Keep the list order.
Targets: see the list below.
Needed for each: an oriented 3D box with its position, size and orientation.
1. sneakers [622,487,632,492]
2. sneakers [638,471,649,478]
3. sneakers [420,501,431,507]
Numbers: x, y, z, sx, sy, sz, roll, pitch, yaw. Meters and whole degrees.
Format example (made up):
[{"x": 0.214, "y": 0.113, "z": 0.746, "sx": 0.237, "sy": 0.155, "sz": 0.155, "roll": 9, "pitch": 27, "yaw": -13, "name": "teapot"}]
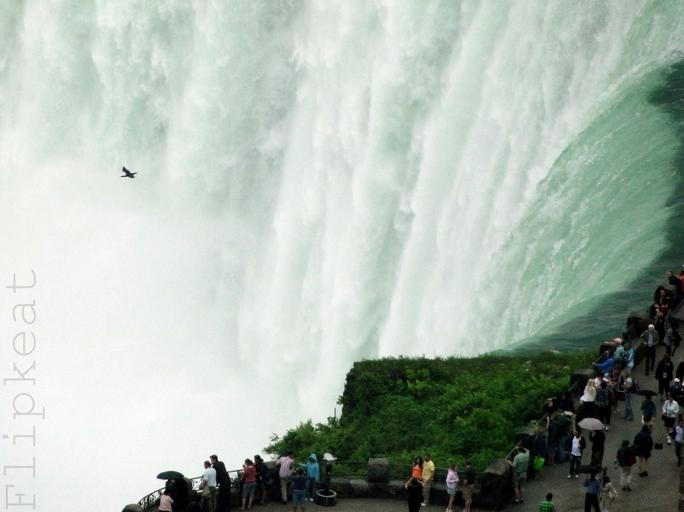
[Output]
[{"x": 14.444, "y": 11.745, "z": 49.808, "sx": 0.401, "sy": 0.301, "sz": 0.219, "roll": -10, "pitch": 3, "yaw": 4, "name": "sneakers"}, {"x": 15.440, "y": 11.169, "z": 50.406, "sx": 0.273, "sy": 0.112, "sz": 0.358, "roll": -38, "pitch": 18, "yaw": -36, "name": "sneakers"}, {"x": 4.406, "y": 13.021, "z": 51.646, "sx": 0.393, "sy": 0.272, "sz": 0.202, "roll": 10, "pitch": -16, "yaw": -33, "name": "sneakers"}]
